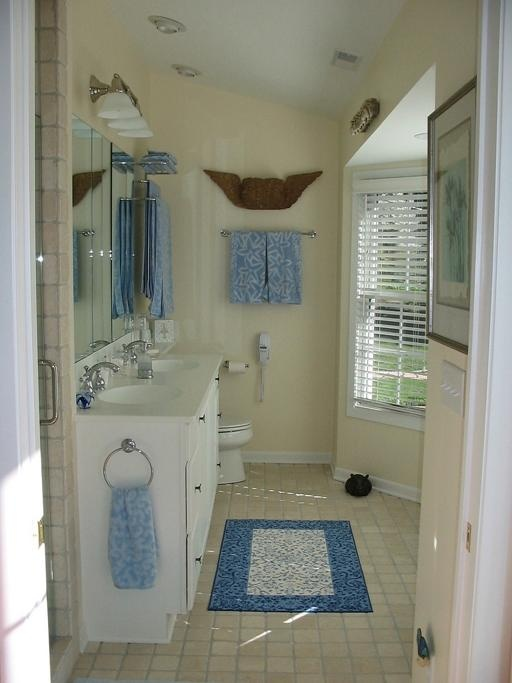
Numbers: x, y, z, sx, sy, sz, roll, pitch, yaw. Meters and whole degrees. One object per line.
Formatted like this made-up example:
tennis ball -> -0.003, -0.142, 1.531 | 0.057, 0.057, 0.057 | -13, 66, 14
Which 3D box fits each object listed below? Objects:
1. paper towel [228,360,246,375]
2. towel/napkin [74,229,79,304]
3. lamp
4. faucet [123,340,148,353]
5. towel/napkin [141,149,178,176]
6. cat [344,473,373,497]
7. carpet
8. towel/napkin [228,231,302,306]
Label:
paper towel -> -0.140, 0.195, 3.954 | 0.101, 0.054, 0.083 | -3, 21, -5
towel/napkin -> -0.736, -0.307, 2.187 | 0.019, 0.285, 0.112 | -1, 5, -13
lamp -> -0.636, -1.161, 2.535 | 0.271, 0.286, 0.538 | -1, 6, -11
faucet -> -0.682, 0.023, 3.017 | 0.102, 0.037, 0.084 | -3, 5, -38
towel/napkin -> -0.584, -1.093, 3.210 | 0.187, 0.122, 0.332 | 0, 6, -3
cat -> 0.673, 0.927, 3.507 | 0.113, 0.106, 0.161 | 0, 6, 3
carpet -> 0.165, 1.097, 2.682 | 0.715, 0.013, 0.877 | 0, 6, 2
towel/napkin -> 0.066, -0.526, 4.072 | 0.484, 0.519, 0.510 | -1, 2, -1
